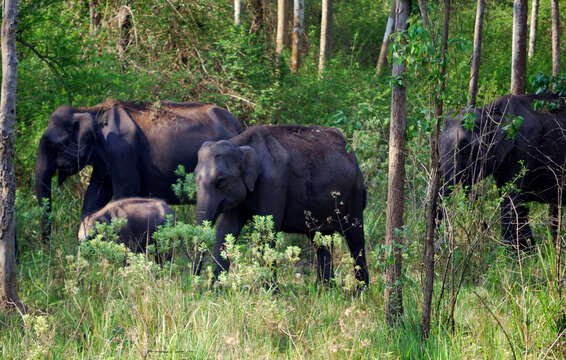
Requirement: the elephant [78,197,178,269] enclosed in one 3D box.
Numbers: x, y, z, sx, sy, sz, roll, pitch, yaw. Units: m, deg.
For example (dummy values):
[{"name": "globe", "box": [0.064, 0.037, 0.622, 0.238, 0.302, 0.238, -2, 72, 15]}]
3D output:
[{"name": "elephant", "box": [-2.255, 0.752, 12.067, 1.604, 1.141, 0.735, 1, -2, -4]}]
